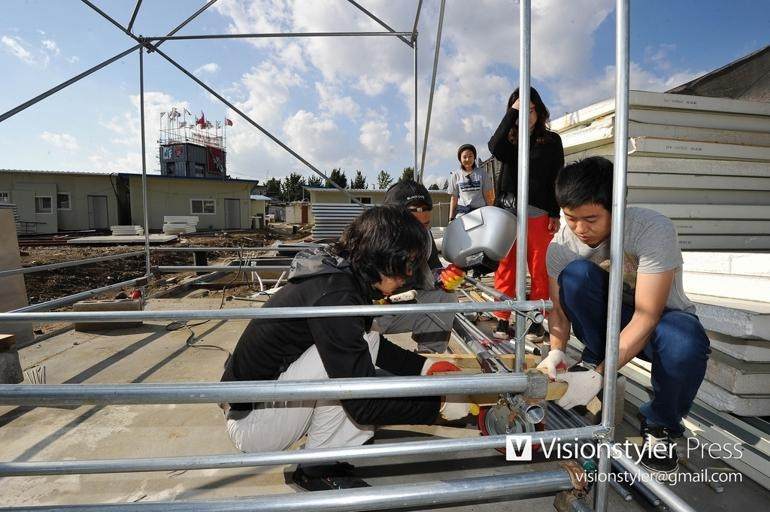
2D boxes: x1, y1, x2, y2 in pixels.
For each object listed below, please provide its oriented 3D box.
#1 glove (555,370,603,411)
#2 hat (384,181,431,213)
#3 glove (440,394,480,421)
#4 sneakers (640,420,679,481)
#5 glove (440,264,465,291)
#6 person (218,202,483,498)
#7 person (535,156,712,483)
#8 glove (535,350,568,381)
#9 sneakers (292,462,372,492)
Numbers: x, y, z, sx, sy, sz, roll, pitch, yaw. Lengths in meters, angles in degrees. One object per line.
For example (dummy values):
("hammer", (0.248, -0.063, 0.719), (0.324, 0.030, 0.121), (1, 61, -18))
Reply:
("glove", (0.876, 0.600, 1.894), (0.237, 0.161, 0.080), (-1, 5, -14))
("hat", (0.171, -0.424, 2.907), (0.265, 0.301, 0.348), (0, 12, -8))
("glove", (0.342, 0.703, 1.983), (0.180, 0.131, 0.127), (6, -14, -17))
("sneakers", (1.349, 0.949, 2.048), (0.164, 0.246, 0.334), (4, 6, 36))
("glove", (0.347, 0.109, 2.157), (0.061, 0.109, 0.138), (25, -9, -16))
("person", (-0.100, 0.280, 2.544), (1.523, 1.533, 1.023), (-1, 17, -10))
("person", (1.190, 0.268, 2.086), (0.741, 1.517, 0.717), (2, 5, 22))
("glove", (0.801, 0.522, 1.992), (0.084, 0.087, 0.160), (23, -8, 10))
("sneakers", (-0.250, 1.036, 1.995), (0.327, 0.116, 0.231), (5, -9, 1))
